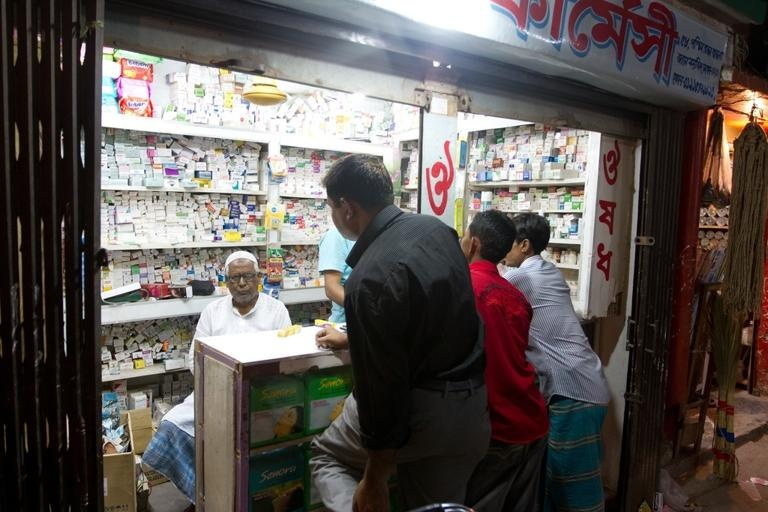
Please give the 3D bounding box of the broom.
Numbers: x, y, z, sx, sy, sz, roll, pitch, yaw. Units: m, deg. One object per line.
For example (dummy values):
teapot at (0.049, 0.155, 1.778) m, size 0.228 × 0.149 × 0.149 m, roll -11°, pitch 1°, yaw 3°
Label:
broom at (3.130, 1.184, 4.949) m, size 0.234 × 1.601 × 0.467 m, roll 2°, pitch 7°, yaw 33°

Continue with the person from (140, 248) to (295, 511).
person at (-1.329, 0.945, 4.303) m, size 0.588 × 1.917 × 1.168 m, roll 2°, pitch 7°, yaw 33°
